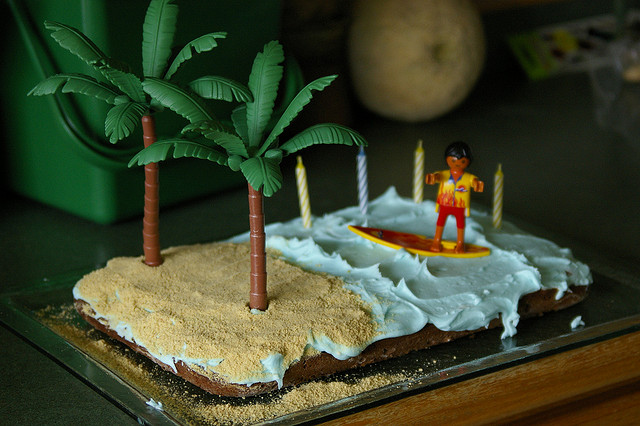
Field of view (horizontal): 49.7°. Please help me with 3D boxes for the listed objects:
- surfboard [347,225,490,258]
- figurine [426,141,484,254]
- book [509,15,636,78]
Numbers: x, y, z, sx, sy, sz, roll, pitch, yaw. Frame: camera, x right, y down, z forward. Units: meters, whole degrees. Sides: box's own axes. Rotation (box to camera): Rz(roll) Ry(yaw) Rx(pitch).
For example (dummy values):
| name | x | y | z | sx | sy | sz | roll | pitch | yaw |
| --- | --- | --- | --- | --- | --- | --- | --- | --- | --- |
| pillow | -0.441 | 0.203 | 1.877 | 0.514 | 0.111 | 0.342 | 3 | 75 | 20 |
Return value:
| name | x | y | z | sx | sy | sz | roll | pitch | yaw |
| --- | --- | --- | --- | --- | --- | --- | --- | --- | --- |
| surfboard | 0.637 | 0.200 | 4.624 | 0.931 | 0.094 | 0.274 | 10 | 17 | 14 |
| figurine | 0.837 | -0.094 | 4.284 | 0.335 | 0.688 | 0.236 | 6 | 5 | 23 |
| book | 1.888 | -1.242 | 5.110 | 0.089 | 0.317 | 0.851 | -38 | 16 | -34 |
